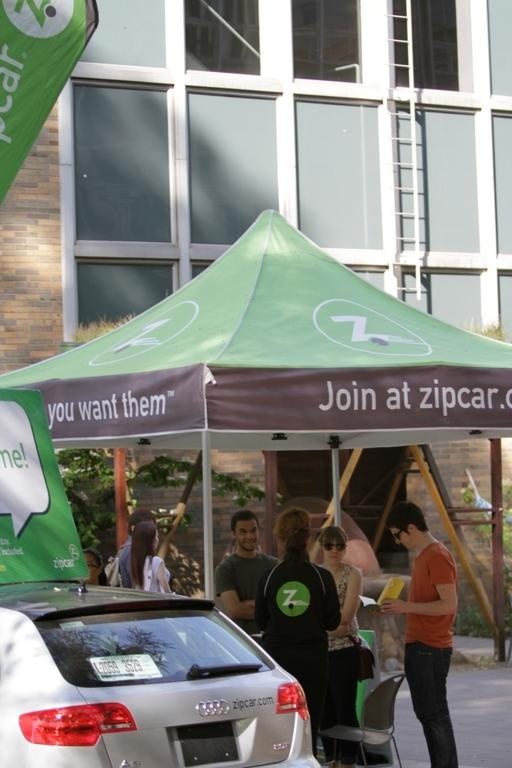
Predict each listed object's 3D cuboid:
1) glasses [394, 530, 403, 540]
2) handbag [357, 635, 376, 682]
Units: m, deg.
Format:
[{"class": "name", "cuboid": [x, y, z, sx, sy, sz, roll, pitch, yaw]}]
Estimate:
[{"class": "glasses", "cuboid": [0.853, 0.908, 7.188, 0.018, 0.065, 0.049, 3, 3, -26]}, {"class": "handbag", "cuboid": [0.667, 1.694, 7.347, 0.142, 0.323, 0.338, 0, -6, 6]}]
